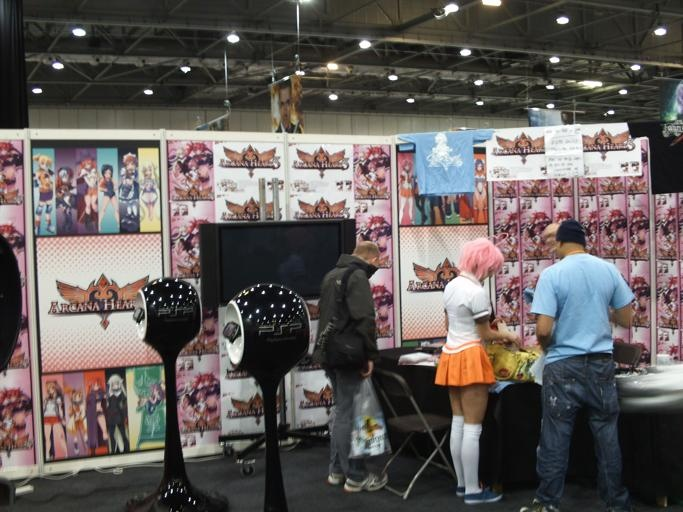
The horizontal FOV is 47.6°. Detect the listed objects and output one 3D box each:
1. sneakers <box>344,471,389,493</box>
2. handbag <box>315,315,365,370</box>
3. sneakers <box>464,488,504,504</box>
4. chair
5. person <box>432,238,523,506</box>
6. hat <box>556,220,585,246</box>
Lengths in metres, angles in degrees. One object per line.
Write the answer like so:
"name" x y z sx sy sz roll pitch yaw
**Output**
"sneakers" 0.213 1.929 6.644 0.373 0.212 0.147 -3 -1 -15
"handbag" -0.020 0.751 6.420 0.366 0.443 0.318 2 -6 -13
"sneakers" 1.148 1.971 6.309 0.306 0.161 0.124 -3 -1 -14
"chair" 0.649 1.454 6.699 0.607 1.065 0.562 -5 4 -23
"person" 1.055 0.945 6.284 0.585 1.396 0.385 -3 2 11
"hat" 1.776 -0.175 6.059 0.164 0.178 0.198 6 -4 2
